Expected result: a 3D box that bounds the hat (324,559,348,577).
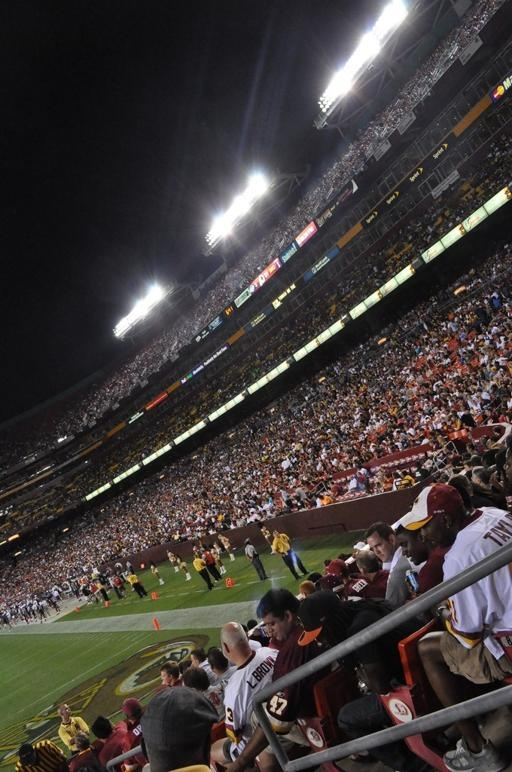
[{"bbox_3d":[1.038,2.389,6.642,0.253,0.187,0.361,3,-6,-10],"label":"hat"}]
